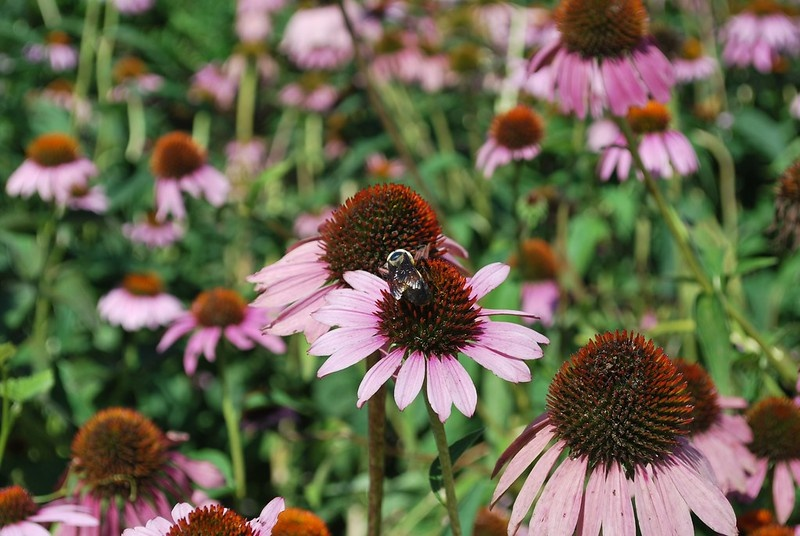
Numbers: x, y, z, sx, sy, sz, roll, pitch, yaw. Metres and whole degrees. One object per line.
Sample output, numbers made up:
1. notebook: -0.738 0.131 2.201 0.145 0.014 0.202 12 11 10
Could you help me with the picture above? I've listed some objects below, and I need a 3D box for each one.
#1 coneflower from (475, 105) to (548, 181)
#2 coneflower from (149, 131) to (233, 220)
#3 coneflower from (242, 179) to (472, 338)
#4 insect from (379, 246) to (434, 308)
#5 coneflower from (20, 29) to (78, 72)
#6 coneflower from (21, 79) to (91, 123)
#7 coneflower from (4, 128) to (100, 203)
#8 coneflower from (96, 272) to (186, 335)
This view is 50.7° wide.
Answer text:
1. coneflower: 0.391 -0.449 3.025 0.246 0.233 0.265 0 32 10
2. coneflower: -0.814 -0.342 3.275 0.287 0.327 0.331 -14 32 -13
3. coneflower: -0.163 -0.041 2.513 0.430 0.239 0.501 2 31 11
4. insect: 0.018 0.025 2.334 0.114 0.050 0.173 -31 52 18
5. coneflower: -1.292 -0.813 3.162 0.136 0.062 0.139 -31 46 -21
6. coneflower: -1.262 -0.633 3.154 0.154 0.056 0.180 13 30 -37
7. coneflower: -1.240 -0.345 2.999 0.306 0.199 0.195 -22 34 -23
8. coneflower: -1.020 0.140 3.274 0.214 0.095 0.253 10 39 -6
